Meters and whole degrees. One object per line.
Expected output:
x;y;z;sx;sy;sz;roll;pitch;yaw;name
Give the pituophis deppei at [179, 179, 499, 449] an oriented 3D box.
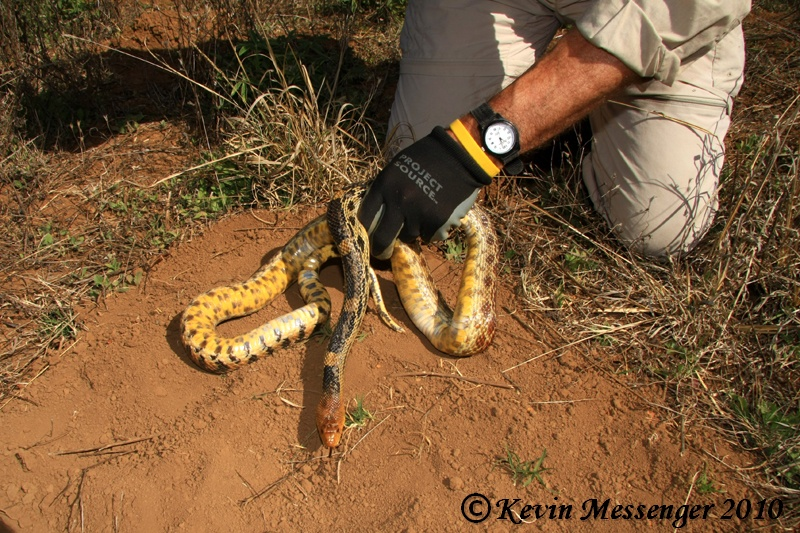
-0.528;0.231;6.179;3.323;0.877;2.917;-16;50;-11;pituophis deppei
